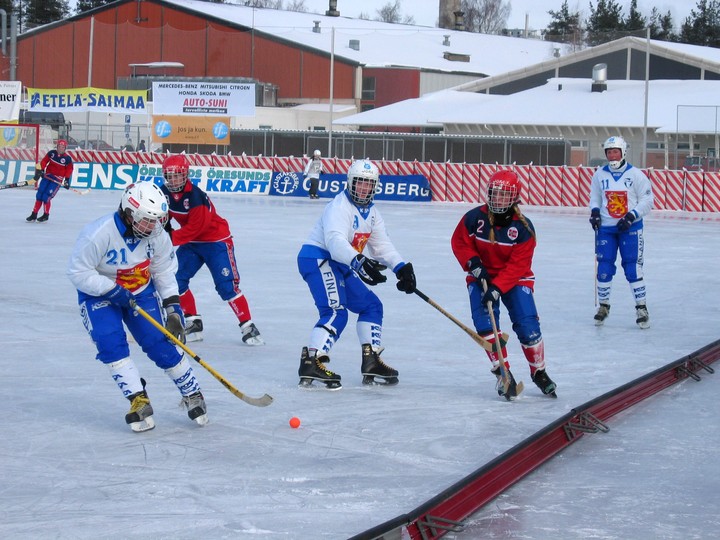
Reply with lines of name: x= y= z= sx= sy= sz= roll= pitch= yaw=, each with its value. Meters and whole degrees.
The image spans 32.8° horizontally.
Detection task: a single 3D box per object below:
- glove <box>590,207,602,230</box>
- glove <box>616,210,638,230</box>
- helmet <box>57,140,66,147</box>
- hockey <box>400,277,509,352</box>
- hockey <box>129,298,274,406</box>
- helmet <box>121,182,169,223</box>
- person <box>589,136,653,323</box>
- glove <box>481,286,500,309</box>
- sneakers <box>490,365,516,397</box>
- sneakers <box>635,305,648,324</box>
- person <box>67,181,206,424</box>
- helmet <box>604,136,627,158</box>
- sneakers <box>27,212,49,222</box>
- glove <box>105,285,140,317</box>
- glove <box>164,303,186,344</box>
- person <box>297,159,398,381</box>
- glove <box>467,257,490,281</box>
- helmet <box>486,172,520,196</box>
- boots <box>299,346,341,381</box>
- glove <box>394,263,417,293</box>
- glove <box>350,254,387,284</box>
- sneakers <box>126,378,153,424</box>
glove: x=2.492 y=-0.542 z=12.858 sx=0.079 sy=0.200 sz=0.167 roll=-1 pitch=-11 yaw=11
glove: x=2.777 y=-0.494 z=12.652 sx=0.192 sy=0.212 sz=0.216 roll=1 pitch=7 yaw=11
helmet: x=-5.100 y=-2.166 z=21.009 sx=0.200 sy=0.125 sz=0.267 roll=5 pitch=4 yaw=-9
hockey: x=0.895 y=0.460 z=11.477 sx=1.303 sy=0.131 sz=0.097 roll=29 pitch=5 yaw=5
hockey: x=-1.304 y=0.723 z=10.109 sx=1.237 sy=0.138 sz=0.169 roll=36 pitch=23 yaw=2
helmet: x=-1.514 y=-0.502 z=8.884 sx=0.361 sy=0.280 sz=0.261 roll=13 pitch=19 yaw=13
person: x=2.736 y=-0.422 z=12.772 sx=0.630 sy=1.913 sz=0.965 roll=0 pitch=7 yaw=10
glove: x=1.089 y=0.226 z=9.830 sx=0.144 sy=0.179 sz=0.232 roll=4 pitch=8 yaw=33
sneakers: x=1.189 y=0.906 z=9.866 sx=0.193 sy=0.280 sz=0.287 roll=0 pitch=6 yaw=6
sneakers: x=2.884 y=0.471 z=12.442 sx=0.112 sy=0.222 sz=0.286 roll=1 pitch=6 yaw=11
person: x=-1.631 y=0.272 z=9.030 sx=0.953 sy=1.832 sz=0.436 roll=-3 pitch=8 yaw=-14
helmet: x=2.720 y=-1.293 z=12.937 sx=0.211 sy=0.211 sz=0.320 roll=0 pitch=6 yaw=9
sneakers: x=-5.605 y=-0.899 z=21.177 sx=0.486 sy=0.153 sz=0.148 roll=3 pitch=11 yaw=-2
glove: x=-1.695 y=0.231 z=8.939 sx=0.266 sy=0.152 sz=0.098 roll=34 pitch=22 yaw=-26
glove: x=-1.362 y=0.412 z=9.156 sx=0.190 sy=0.281 sz=0.082 roll=-22 pitch=-20 yaw=-15
person: x=-0.061 y=0.037 z=10.187 sx=0.960 sy=1.875 sz=0.901 roll=1 pitch=7 yaw=16
glove: x=0.971 y=-0.001 z=9.890 sx=0.166 sy=0.182 sz=0.155 roll=1 pitch=7 yaw=11
helmet: x=1.173 y=-0.695 z=9.852 sx=0.243 sy=0.202 sz=0.242 roll=0 pitch=6 yaw=5
boots: x=-0.326 y=0.814 z=10.159 sx=0.165 sy=0.259 sz=0.469 roll=1 pitch=-10 yaw=45
glove: x=0.386 y=0.073 z=10.076 sx=0.182 sy=0.109 sz=0.253 roll=-2 pitch=43 yaw=-19
glove: x=0.093 y=0.050 z=9.892 sx=0.264 sy=0.117 sz=0.272 roll=35 pitch=11 yaw=33
sneakers: x=-1.622 y=0.983 z=9.006 sx=0.211 sy=0.332 sz=0.206 roll=-4 pitch=8 yaw=-23
